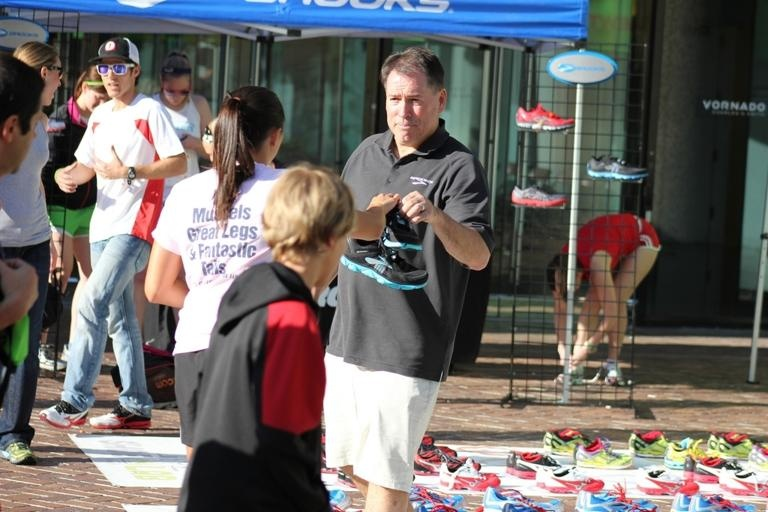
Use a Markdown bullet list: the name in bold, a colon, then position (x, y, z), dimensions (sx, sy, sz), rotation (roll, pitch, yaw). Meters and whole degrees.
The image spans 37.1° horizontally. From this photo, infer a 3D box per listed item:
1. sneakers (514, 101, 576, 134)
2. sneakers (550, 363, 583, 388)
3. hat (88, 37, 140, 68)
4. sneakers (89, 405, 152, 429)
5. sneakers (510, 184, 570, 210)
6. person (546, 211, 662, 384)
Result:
- **sneakers**: position (1.590, -1.384, 11.211), dimensions (0.607, 0.299, 0.241), rotation (2, 5, 8)
- **sneakers**: position (1.903, 1.234, 11.883), dimensions (0.407, 0.299, 0.141), rotation (3, 3, -3)
- **hat**: position (-2.332, -1.834, 10.222), dimensions (0.282, 0.226, 0.399), rotation (0, 4, 16)
- **sneakers**: position (-2.290, 1.433, 10.066), dimensions (0.555, 0.268, 0.207), rotation (7, -8, -14)
- **sneakers**: position (1.533, -0.600, 11.363), dimensions (0.615, 0.274, 0.223), rotation (2, 2, 13)
- **person**: position (2.281, 0.425, 11.920), dimensions (1.140, 1.827, 0.952), rotation (2, 10, -2)
